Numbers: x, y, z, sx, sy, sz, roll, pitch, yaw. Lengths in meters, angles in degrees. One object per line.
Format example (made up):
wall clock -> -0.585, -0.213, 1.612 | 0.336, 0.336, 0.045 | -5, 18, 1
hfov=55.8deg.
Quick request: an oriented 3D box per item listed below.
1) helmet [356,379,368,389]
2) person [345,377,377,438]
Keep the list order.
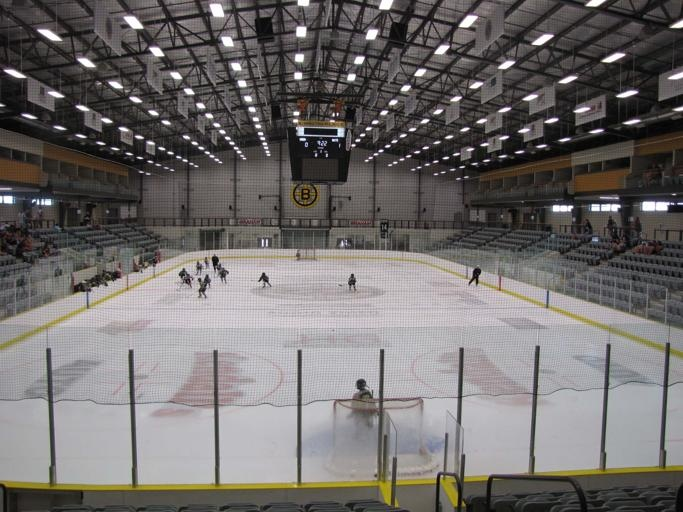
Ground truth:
helmet -> 0.432, 2.944, 14.724 | 0.218, 0.246, 0.269 | 5, 19, 16
person -> 0.466, 3.344, 14.116 | 0.577, 1.019, 1.404 | 2, 11, 1
